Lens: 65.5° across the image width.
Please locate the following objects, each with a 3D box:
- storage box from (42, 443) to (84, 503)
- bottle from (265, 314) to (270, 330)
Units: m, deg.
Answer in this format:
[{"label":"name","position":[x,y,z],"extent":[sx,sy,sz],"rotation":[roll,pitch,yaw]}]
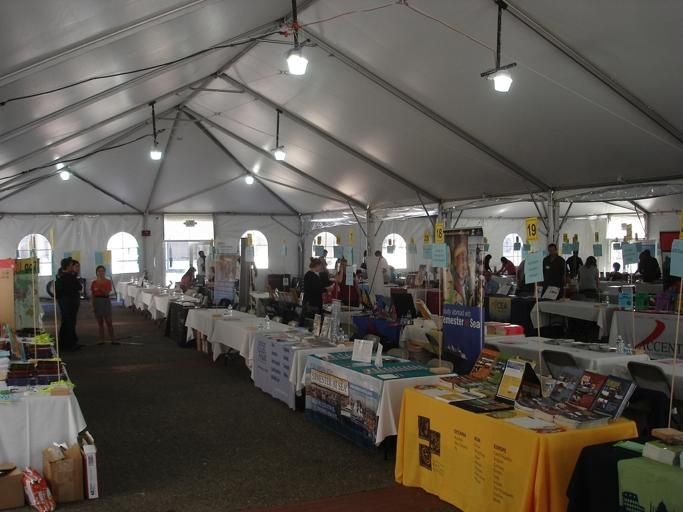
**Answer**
[{"label":"storage box","position":[-2.340,1.821,4.469],"extent":[0.333,0.374,0.229],"rotation":[1,-1,-22]},{"label":"bottle","position":[-1.120,1.002,7.995],"extent":[0.096,0.206,0.103],"rotation":[-1,-17,0]}]
